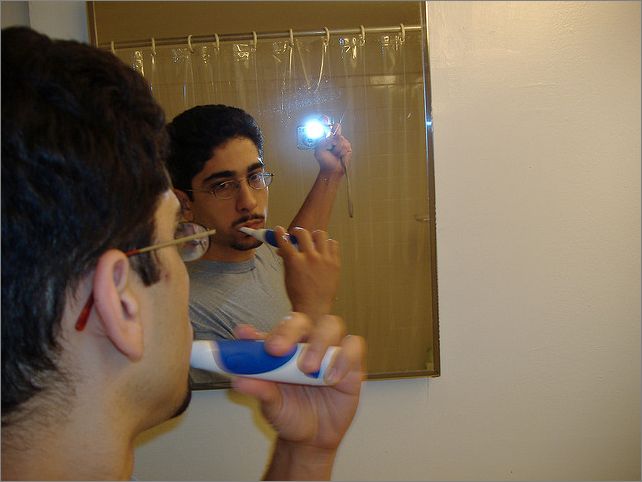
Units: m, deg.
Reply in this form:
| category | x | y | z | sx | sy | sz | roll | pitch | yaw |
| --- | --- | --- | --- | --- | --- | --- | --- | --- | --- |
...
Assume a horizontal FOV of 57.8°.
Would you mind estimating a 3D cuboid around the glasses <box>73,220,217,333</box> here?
| category | x | y | z | sx | sy | sz | roll | pitch | yaw |
| --- | --- | --- | --- | --- | --- | --- | --- | --- | --- |
| glasses | -0.312 | 0.035 | 1.090 | 0.186 | 0.060 | 0.181 | -30 | 7 | -26 |
